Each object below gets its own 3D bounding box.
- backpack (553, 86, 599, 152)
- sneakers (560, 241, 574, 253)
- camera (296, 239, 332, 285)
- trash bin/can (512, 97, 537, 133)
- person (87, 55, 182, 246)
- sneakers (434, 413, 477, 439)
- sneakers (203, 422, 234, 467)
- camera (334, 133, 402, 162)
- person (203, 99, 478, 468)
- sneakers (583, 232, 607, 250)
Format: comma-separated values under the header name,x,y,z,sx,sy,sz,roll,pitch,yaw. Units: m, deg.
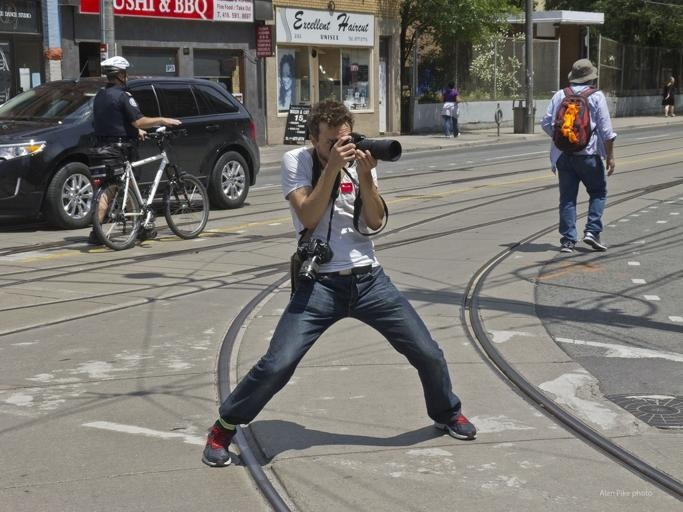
name,x,y,z,sx,sy,sz,roll,pitch,yaw
backpack,2.660,-1.549,9.694,0.409,0.723,0.447,9,17,35
sneakers,2.621,-0.117,9.833,0.165,0.139,0.373,1,0,11
camera,-0.178,0.013,4.738,0.193,0.207,0.170,-1,14,0
trash bin/can,6.880,-5.335,32.296,0.748,1.187,2.179,1,13,10
person,-2.873,-1.319,10.685,1.093,2.317,1.244,-5,15,-13
sneakers,0.680,1.008,5.060,0.272,0.089,0.126,6,10,42
sneakers,-0.746,1.045,4.792,0.193,0.240,0.175,-6,15,-17
camera,0.154,-0.579,4.612,0.212,0.090,0.227,-25,31,-36
person,-0.061,0.122,4.853,1.607,1.993,0.502,-4,15,-10
sneakers,2.941,-0.163,9.857,0.395,0.148,0.132,26,-23,-29
